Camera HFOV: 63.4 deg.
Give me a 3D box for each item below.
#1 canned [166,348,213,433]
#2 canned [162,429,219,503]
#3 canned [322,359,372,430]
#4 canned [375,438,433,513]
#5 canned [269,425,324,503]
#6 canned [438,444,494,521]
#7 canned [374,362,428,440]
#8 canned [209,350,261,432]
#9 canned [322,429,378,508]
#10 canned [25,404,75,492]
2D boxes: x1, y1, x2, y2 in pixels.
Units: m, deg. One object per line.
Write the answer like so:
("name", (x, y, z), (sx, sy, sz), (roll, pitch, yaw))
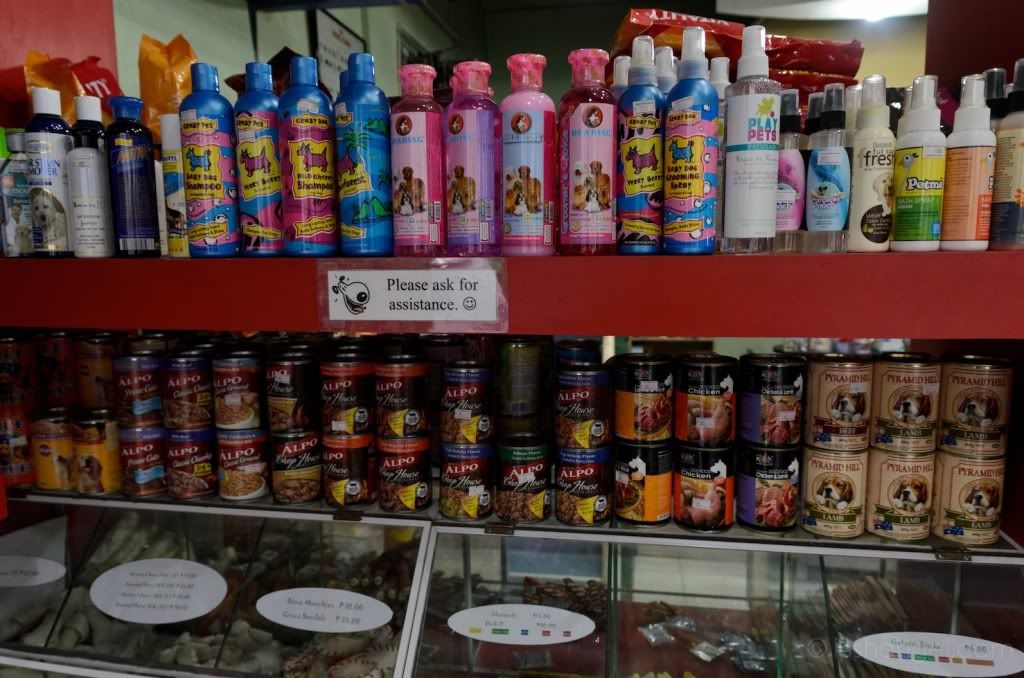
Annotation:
("canned", (-0.810, 0.130, 2.082), (0.135, 0.183, 0.120), (-2, 3, -21))
("canned", (-0.789, 0.307, 2.120), (0.170, 0.166, 0.159), (-3, 0, 5))
("canned", (-0.396, 0.140, 2.081), (0.173, 0.168, 0.159), (1, 1, -27))
("canned", (-0.261, 0.330, 2.059), (0.168, 0.164, 0.156), (2, -8, -12))
("canned", (-0.525, 0.309, 2.120), (0.174, 0.175, 0.174), (-4, -4, 45))
("canned", (-0.131, 0.325, 2.040), (0.170, 0.165, 0.161), (2, 2, 8))
("canned", (-0.294, 0.152, 2.048), (0.175, 0.169, 0.167), (-5, -4, 24))
("canned", (-0.685, 0.138, 2.077), (0.144, 0.202, 0.133), (-3, -2, -16))
("canned", (-0.380, 0.325, 2.078), (0.186, 0.158, 0.177), (-1, -4, -30))
("canned", (-1.174, 0.296, 2.153), (0.119, 0.172, 0.111), (-4, -5, -5))
